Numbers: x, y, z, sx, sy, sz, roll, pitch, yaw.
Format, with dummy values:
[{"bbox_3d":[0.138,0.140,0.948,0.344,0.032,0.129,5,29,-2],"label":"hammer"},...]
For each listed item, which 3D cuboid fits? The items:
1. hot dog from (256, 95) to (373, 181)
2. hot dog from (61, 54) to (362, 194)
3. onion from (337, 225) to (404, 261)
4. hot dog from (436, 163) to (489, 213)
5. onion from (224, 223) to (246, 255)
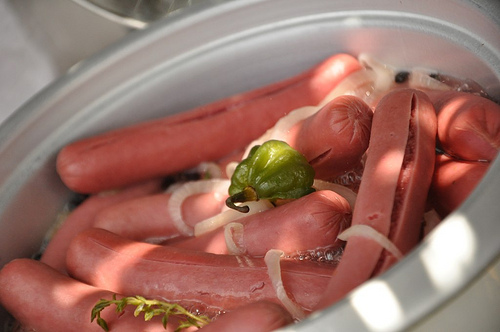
[{"bbox_3d":[0.111,-0.047,0.892,0.101,0.238,0.121,-20,96,-27],"label":"hot dog"},{"bbox_3d":[-0.083,-0.089,0.957,0.422,0.092,0.122,-26,120,1],"label":"hot dog"},{"bbox_3d":[0.189,0.112,0.692,0.060,0.015,0.047,43,120,18],"label":"onion"},{"bbox_3d":[0.322,0.018,0.706,0.089,0.031,0.059,-40,78,-5],"label":"hot dog"},{"bbox_3d":[-0.031,0.131,0.861,0.054,0.090,0.023,-11,100,1],"label":"onion"}]
